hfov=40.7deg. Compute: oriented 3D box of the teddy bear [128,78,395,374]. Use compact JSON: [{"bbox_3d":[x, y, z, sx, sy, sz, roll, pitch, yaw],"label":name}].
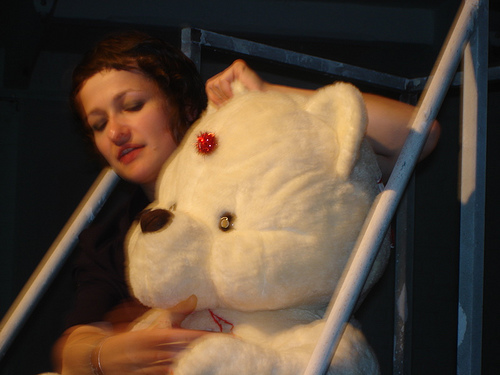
[{"bbox_3d":[-0.038,0.063,1.456,0.465,0.702,0.542,8,-3,-35],"label":"teddy bear"}]
